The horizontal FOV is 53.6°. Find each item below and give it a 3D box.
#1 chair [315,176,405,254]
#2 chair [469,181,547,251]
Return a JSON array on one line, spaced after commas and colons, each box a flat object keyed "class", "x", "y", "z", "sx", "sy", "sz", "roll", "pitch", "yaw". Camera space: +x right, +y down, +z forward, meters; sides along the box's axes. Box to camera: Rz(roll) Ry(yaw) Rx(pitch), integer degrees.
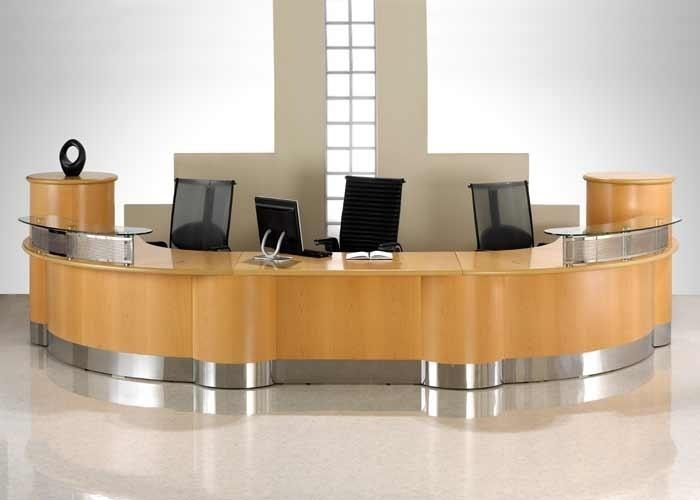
[{"class": "chair", "x": 0.323, "y": -0.439, "z": 8.825, "sx": 0.915, "sy": 1.389, "sz": 1.012, "roll": 3, "pitch": 1, "yaw": 15}, {"class": "chair", "x": 1.879, "y": -0.454, "z": 8.651, "sx": 0.787, "sy": 1.128, "sz": 0.843, "roll": -3, "pitch": 6, "yaw": -6}]
